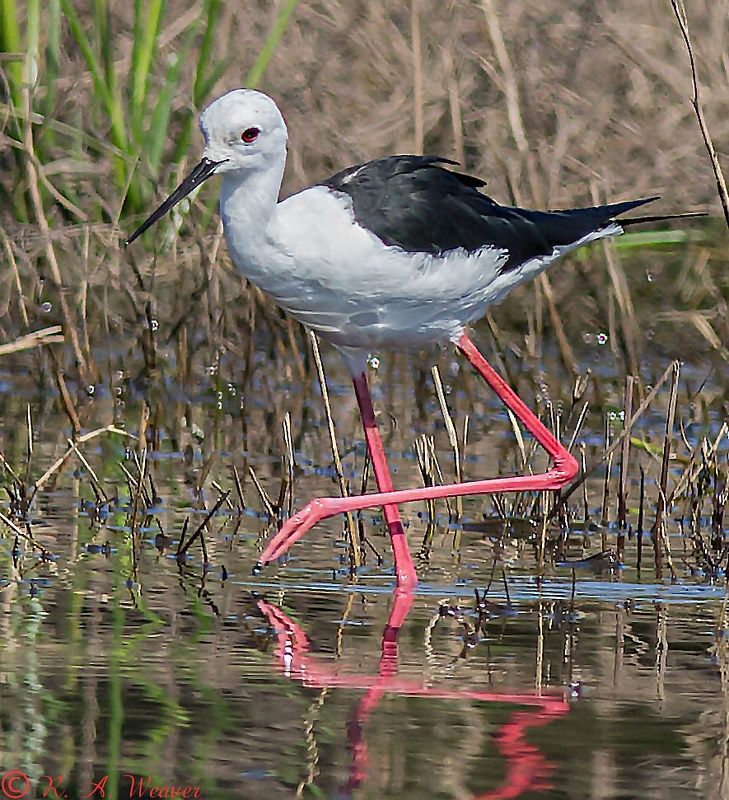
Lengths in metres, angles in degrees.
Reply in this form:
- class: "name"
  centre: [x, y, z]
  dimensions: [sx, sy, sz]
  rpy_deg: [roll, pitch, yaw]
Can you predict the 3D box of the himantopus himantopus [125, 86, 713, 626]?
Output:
- class: "himantopus himantopus"
  centre: [0.242, -0.126, 3.434]
  dimensions: [2.307, 1.430, 0.553]
  rpy_deg: [10, -9, -4]
